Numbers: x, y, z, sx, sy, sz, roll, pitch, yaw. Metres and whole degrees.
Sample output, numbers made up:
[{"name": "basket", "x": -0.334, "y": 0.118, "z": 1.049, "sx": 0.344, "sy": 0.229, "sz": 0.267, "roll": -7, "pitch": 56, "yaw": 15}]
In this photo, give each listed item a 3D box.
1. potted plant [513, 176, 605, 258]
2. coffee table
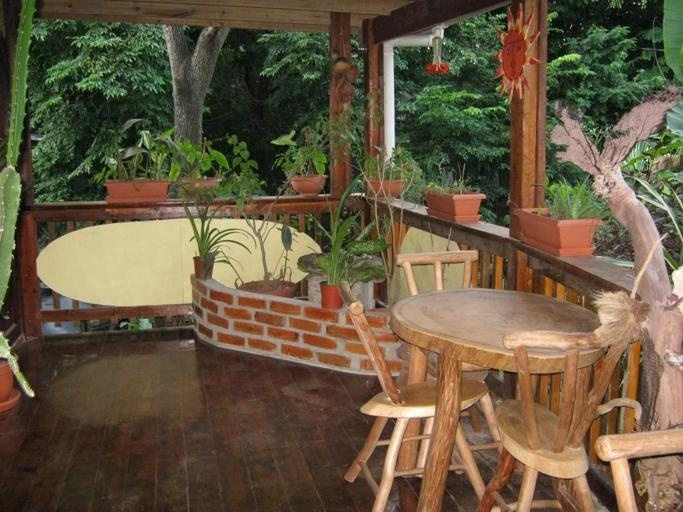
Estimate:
[{"name": "potted plant", "x": 1.074, "y": -0.205, "z": 2.789, "sx": 0.338, "sy": 0.350, "sz": 0.474, "roll": 2, "pitch": 10, "yaw": -8}, {"name": "coffee table", "x": 0.529, "y": 0.532, "z": 2.399, "sx": 0.768, "sy": 0.855, "sz": 0.892, "roll": -2, "pitch": 18, "yaw": -9}]
